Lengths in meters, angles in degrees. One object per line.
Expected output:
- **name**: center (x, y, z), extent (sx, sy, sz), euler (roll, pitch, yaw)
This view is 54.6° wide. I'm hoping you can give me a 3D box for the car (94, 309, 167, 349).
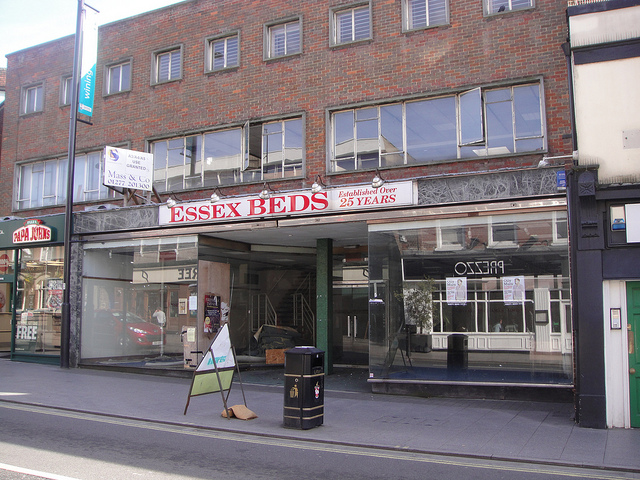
- **car**: center (-6.189, 2.955, 20.628), extent (2.469, 1.049, 1.260), euler (-4, -10, 26)
